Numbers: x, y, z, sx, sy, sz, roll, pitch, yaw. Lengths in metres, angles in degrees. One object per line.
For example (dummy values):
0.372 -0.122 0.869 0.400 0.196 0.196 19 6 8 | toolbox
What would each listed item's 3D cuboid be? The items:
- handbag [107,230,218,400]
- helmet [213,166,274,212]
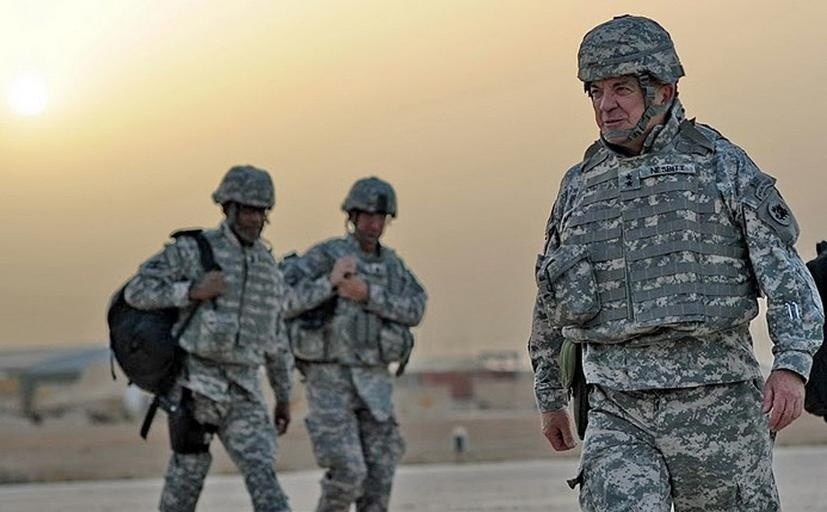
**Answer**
-1.764 0.426 11.247 1.168 0.982 0.791 7 21 35 | handbag
-1.330 -0.567 11.645 0.509 0.293 0.499 11 7 22 | helmet
